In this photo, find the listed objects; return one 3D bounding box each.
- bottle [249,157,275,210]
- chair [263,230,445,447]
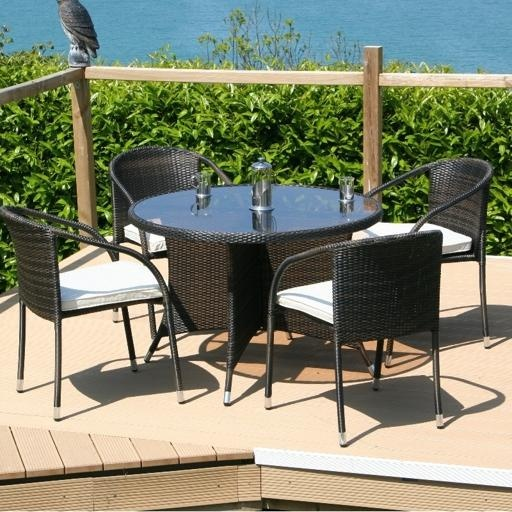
[{"bbox_3d":[0.018,-0.325,3.043,0.096,0.226,0.198,-5,21,0],"label":"bottle"},{"bbox_3d":[0.368,0.257,2.670,0.742,0.571,0.627,-2,-1,11],"label":"chair"}]
